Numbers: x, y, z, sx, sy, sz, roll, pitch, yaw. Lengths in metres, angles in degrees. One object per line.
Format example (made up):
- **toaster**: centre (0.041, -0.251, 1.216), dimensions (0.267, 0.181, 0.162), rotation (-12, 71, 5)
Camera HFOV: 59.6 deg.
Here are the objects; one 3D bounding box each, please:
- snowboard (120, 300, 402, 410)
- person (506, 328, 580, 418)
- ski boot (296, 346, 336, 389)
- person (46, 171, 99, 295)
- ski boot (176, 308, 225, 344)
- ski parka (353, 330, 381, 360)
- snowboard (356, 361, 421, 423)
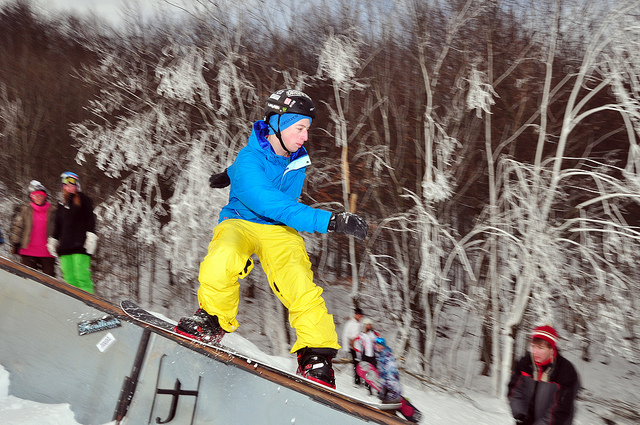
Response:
- **snowboard**: centre (-0.536, 1.776, 6.884), dimensions (4.538, 0.234, 0.465), rotation (22, -8, 5)
- **person**: centre (2.598, 1.893, 6.524), dimensions (0.737, 1.077, 0.261), rotation (5, -15, 23)
- **ski boot**: centre (-0.057, 1.641, 6.109), dimensions (0.249, 0.312, 0.684), rotation (7, 14, -26)
- **person**: centre (-3.710, 0.310, 8.571), dimensions (0.838, 1.646, 0.487), rotation (17, -15, -23)
- **ski boot**: centre (-1.325, 1.214, 6.277), dimensions (0.338, 0.266, 0.645), rotation (22, -2, 11)
- **ski parka**: centre (0.719, 2.052, 8.611), dimensions (0.540, 0.427, 0.191), rotation (0, -5, 27)
- **snowboard**: centre (0.899, 2.565, 8.218), dimensions (1.361, 0.358, 0.206), rotation (42, 17, 19)
